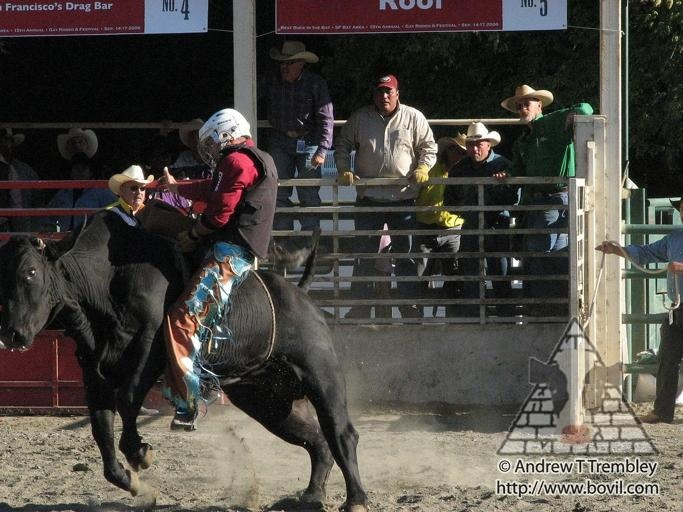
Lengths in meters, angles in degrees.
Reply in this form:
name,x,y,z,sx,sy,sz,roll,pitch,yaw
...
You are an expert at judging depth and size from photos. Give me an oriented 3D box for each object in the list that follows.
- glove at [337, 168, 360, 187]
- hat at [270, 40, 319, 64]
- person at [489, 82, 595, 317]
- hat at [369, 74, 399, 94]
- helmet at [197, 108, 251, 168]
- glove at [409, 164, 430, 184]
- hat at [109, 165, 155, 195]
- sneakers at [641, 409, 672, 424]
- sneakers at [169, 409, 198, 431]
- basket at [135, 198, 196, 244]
name,x,y,z,sx,sy,sz,roll,pitch,yaw
glove,0.077,-0.845,16.498,0.240,0.168,0.168,0,5,1
hat,-0.450,-2.273,17.188,0.361,0.141,0.380,6,2,41
person,2.307,-0.611,16.849,0.813,2.550,1.501,0,5,6
hat,0.507,-1.928,16.906,0.228,0.171,0.323,-3,-18,12
helmet,-1.106,-1.104,13.934,0.568,0.531,0.423,-1,1,5
glove,0.852,-0.885,16.501,0.204,0.185,0.328,0,5,4
hat,-2.202,-0.735,15.334,0.344,0.138,0.357,-5,-17,-40
sneakers,3.351,1.739,16.333,0.375,0.164,0.126,8,-16,3
sneakers,-1.448,1.458,13.932,0.351,0.255,0.110,1,24,-9
basket,-1.628,-0.320,14.085,0.435,0.382,0.183,18,-21,-6
